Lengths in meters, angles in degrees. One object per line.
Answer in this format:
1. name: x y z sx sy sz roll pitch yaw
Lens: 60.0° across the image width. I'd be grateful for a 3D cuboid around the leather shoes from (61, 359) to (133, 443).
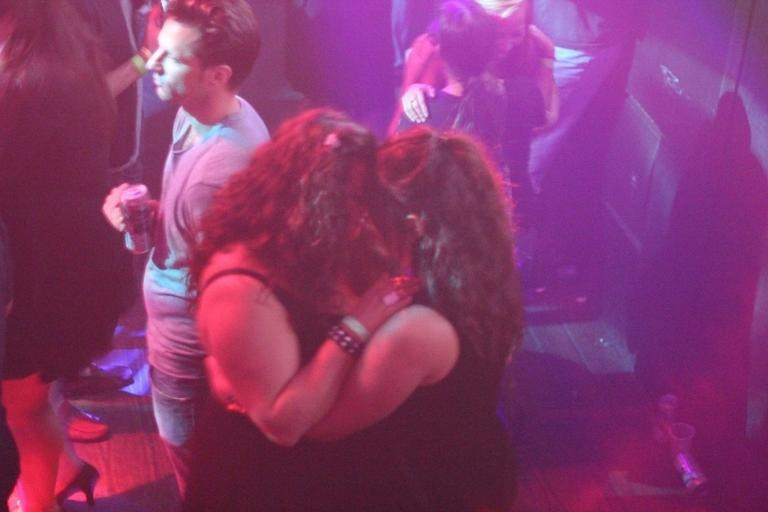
1. leather shoes: -1.182 0.578 2.701 0.213 0.331 0.286 -20 37 -31
